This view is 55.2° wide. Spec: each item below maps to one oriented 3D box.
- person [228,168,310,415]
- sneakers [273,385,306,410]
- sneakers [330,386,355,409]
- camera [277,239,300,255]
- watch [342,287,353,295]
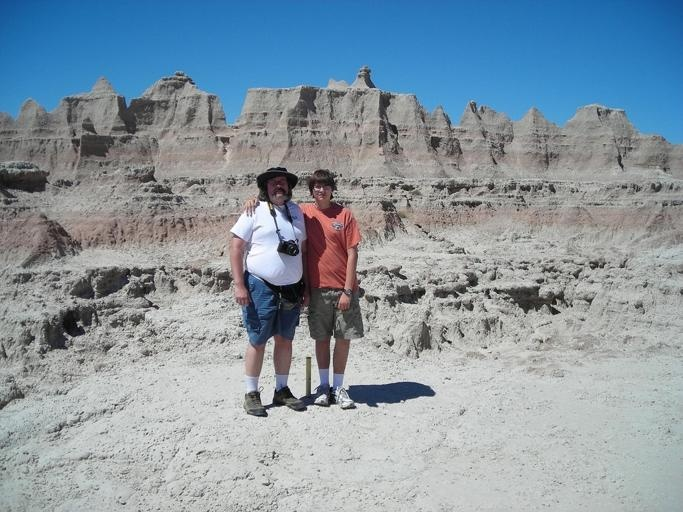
[{"bbox_3d":[-0.839,0.406,7.617,0.866,2.886,0.365,1,1,-6],"label":"person"},{"bbox_3d":[-0.631,1.703,7.731,0.432,0.177,0.191,0,1,37],"label":"sneakers"},{"bbox_3d":[0.006,1.725,7.853,0.154,0.156,0.352,2,-3,-33],"label":"sneakers"},{"bbox_3d":[-0.605,-0.080,7.460,0.160,0.183,0.230,-4,-5,44],"label":"camera"},{"bbox_3d":[0.078,0.433,7.680,0.099,0.061,0.092,21,-35,-21],"label":"watch"}]
